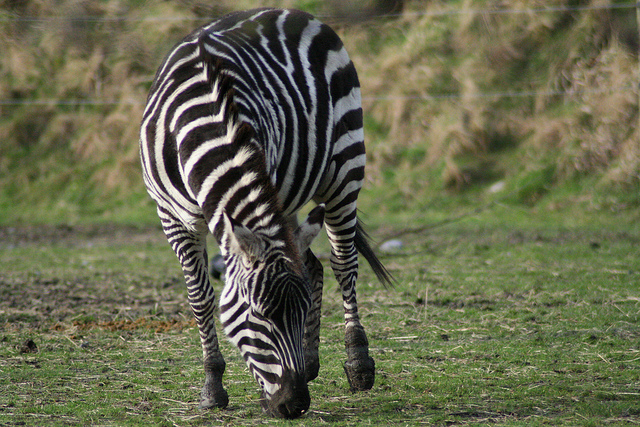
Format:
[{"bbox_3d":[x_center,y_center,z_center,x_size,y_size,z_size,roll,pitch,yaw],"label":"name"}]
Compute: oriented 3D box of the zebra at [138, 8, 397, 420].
[{"bbox_3d":[-0.658,-0.125,14.533,2.372,4.222,1.335,2,-4,-10],"label":"zebra"}]
